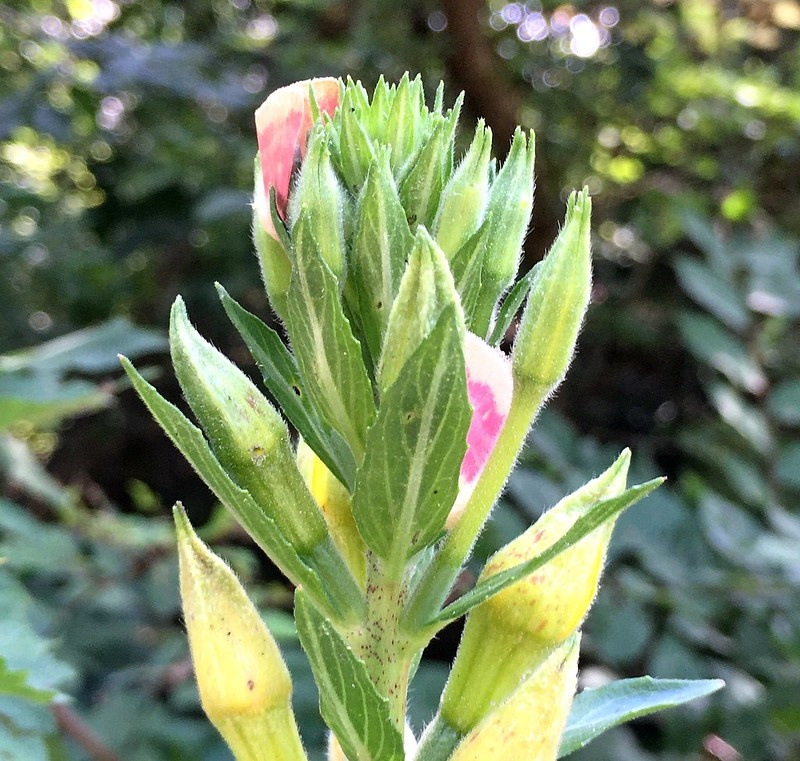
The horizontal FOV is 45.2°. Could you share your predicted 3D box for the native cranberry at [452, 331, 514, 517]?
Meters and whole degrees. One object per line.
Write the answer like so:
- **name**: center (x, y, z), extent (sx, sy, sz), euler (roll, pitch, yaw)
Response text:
- **native cranberry**: center (0.108, 0.067, 1.286), extent (0.073, 0.248, 0.170), euler (10, 51, 4)
